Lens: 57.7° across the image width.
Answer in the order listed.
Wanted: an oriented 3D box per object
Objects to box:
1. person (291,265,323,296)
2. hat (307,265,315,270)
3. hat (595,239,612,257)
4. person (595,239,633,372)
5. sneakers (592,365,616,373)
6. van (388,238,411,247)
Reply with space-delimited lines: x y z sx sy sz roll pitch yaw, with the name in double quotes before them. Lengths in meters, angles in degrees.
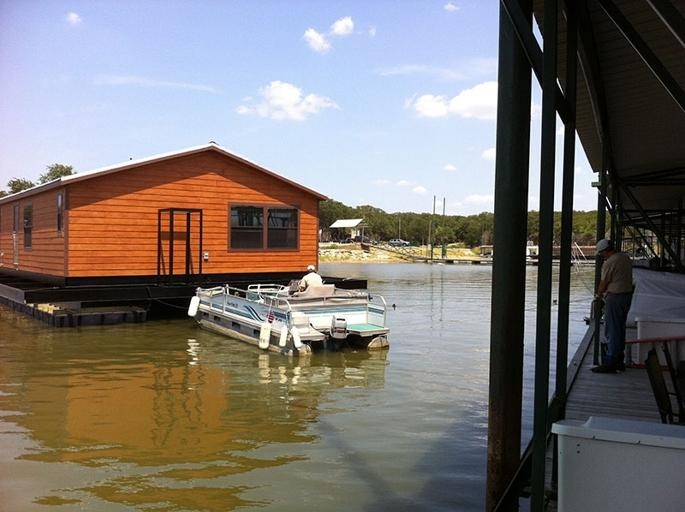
"person" -0.978 0.750 18.255 0.647 0.886 1.001 -3 9 -20
"hat" -1.000 0.355 19.793 0.213 0.254 0.274 1 -11 -8
"hat" 4.542 -0.146 10.748 0.214 0.169 0.293 -40 5 -4
"person" 4.500 0.966 10.323 0.541 2.058 0.536 2 2 17
"sneakers" 4.456 1.934 10.621 0.411 0.170 0.142 3 0 17
"van" 10.669 -2.889 121.405 4.632 1.651 2.155 -3 -1 25
